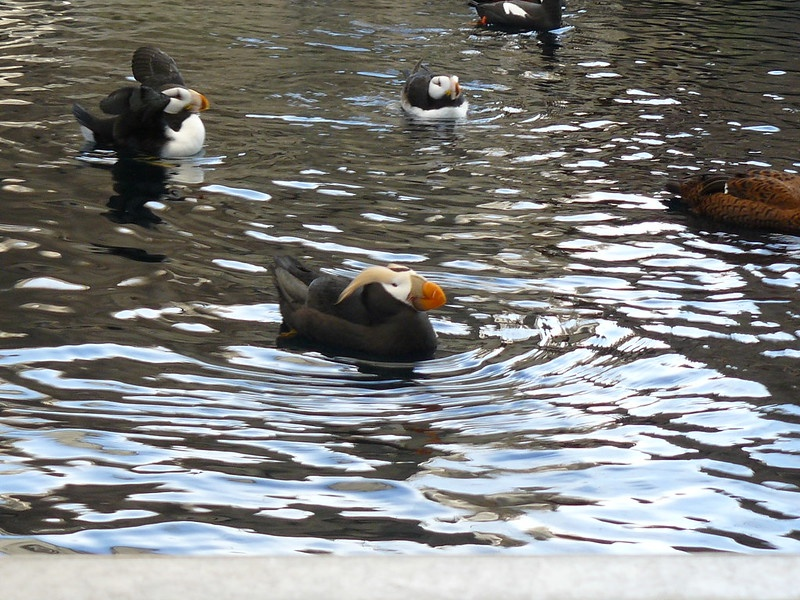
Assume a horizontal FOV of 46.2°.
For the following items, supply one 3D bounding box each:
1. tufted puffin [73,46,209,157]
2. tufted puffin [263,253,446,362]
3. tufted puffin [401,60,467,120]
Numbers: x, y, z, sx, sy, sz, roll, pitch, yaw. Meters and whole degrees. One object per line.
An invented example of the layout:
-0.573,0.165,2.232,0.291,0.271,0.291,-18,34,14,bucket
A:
-2.657,-1.934,9.881,1.717,0.593,1.207,-6,21,-1,tufted puffin
-0.328,0.078,6.367,1.360,0.525,1.234,4,14,-17,tufted puffin
0.416,-2.458,11.382,0.732,0.305,0.989,-10,21,-24,tufted puffin
